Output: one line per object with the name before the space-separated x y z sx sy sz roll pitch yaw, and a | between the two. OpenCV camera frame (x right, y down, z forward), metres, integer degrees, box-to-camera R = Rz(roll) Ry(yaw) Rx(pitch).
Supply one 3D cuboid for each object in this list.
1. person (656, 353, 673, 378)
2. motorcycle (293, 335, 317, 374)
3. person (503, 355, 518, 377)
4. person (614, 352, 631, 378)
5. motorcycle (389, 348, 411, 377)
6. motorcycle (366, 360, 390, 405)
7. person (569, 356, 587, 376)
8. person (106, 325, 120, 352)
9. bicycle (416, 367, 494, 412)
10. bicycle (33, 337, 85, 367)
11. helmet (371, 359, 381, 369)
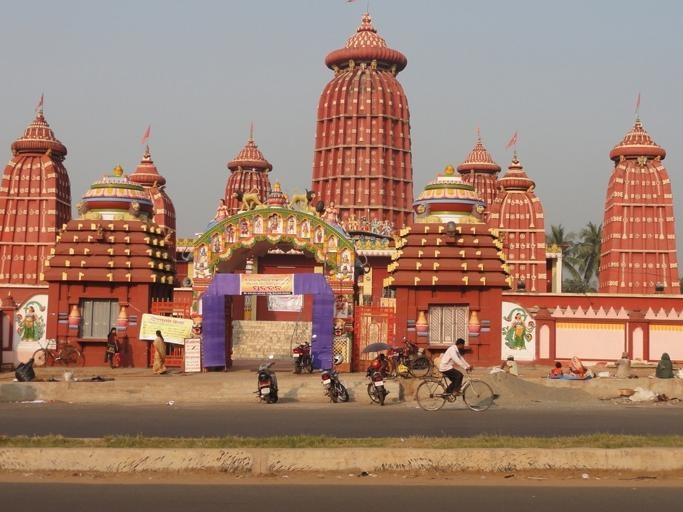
person | 10.947 3.631 54.102 0.601 0.894 0.947 -1 -8 10
motorcycle | -1.310 3.367 55.881 0.525 1.346 1.023 -4 -9 26
person | 5.895 3.793 55.184 0.559 0.558 0.975 11 30 -3
person | 9.811 3.730 55.627 0.485 0.846 0.687 6 -8 -8
motorcycle | 2.030 3.592 55.053 0.714 1.098 1.973 0 -8 2
motorcycle | 1.231 4.045 51.864 0.692 1.434 2.006 0 -8 2
person | 8.095 3.683 54.402 0.561 0.692 0.869 -1 -8 7
person | -8.167 2.929 57.683 0.397 0.940 0.743 2 -8 -10
bicycle | 3.607 4.176 49.970 2.416 1.355 1.158 0 -5 1
bicycle | -10.297 3.458 58.023 1.888 1.041 0.777 1 -10 5
helmet | 1.145 3.385 51.274 0.255 0.204 0.246 2 -8 0
